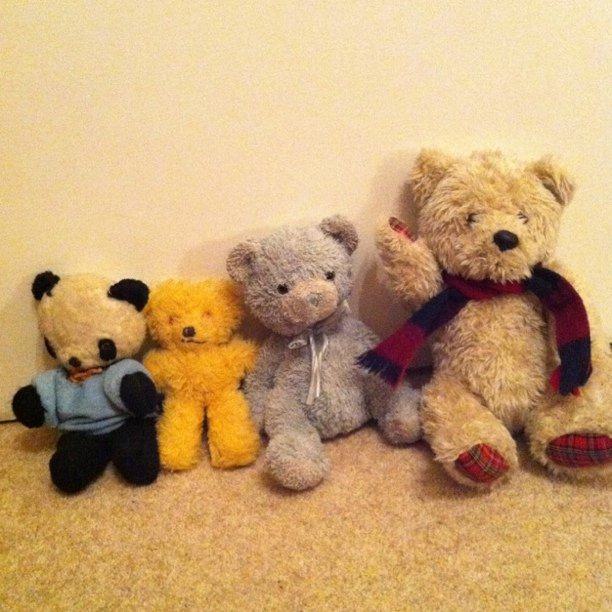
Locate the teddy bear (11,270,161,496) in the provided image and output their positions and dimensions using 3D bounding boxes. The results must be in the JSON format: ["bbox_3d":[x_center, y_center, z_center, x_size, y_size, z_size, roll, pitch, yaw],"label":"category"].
[{"bbox_3d":[-0.463,0.138,1.662,0.309,0.372,0.395,-7,28,-10],"label":"teddy bear"}]

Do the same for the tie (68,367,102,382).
[{"bbox_3d":[-0.467,0.145,1.667,0.047,0.015,0.033,-14,-3,3],"label":"tie"}]

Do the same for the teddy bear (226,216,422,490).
[{"bbox_3d":[0.032,0.086,1.694,0.507,0.481,0.416,-8,26,-19],"label":"teddy bear"}]

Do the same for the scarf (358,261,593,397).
[{"bbox_3d":[0.361,0.050,1.634,0.517,0.044,0.366,0,38,12],"label":"scarf"}]

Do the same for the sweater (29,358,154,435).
[{"bbox_3d":[-0.455,0.190,1.684,0.292,0.126,0.137,-6,12,3],"label":"sweater"}]
